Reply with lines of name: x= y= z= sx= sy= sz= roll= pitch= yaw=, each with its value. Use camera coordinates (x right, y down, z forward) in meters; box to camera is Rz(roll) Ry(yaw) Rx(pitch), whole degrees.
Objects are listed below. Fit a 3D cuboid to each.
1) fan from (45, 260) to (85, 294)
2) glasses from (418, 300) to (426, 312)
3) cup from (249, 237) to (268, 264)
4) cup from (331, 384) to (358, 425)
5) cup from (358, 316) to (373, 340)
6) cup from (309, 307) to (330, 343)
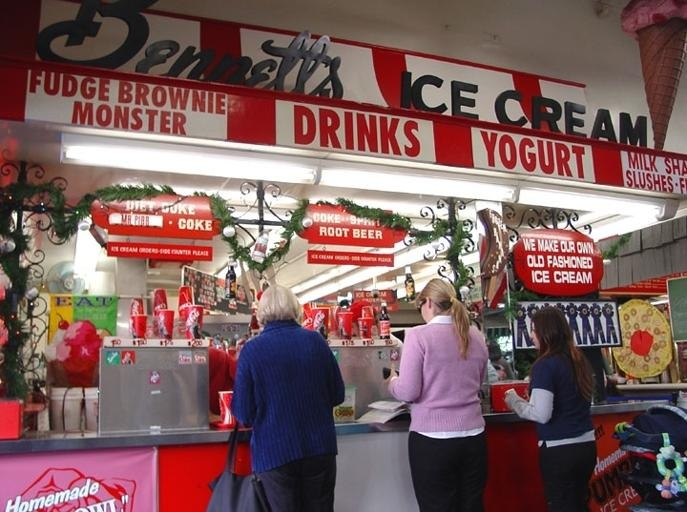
fan: x=-4.207 y=0.330 z=8.661 sx=0.496 sy=0.503 sz=0.324 roll=5 pitch=-10 yaw=-32
glasses: x=0.593 y=0.377 z=4.295 sx=0.060 sy=0.086 sz=0.045 roll=2 pitch=2 yaw=-31
cup: x=-0.928 y=-0.053 z=6.275 sx=0.113 sy=0.108 sz=0.300 roll=-22 pitch=20 yaw=15
cup: x=0.030 y=1.196 z=4.576 sx=0.225 sy=0.371 sz=0.222 roll=0 pitch=-7 yaw=0
cup: x=0.204 y=0.644 z=5.144 sx=0.141 sy=0.177 sz=0.150 roll=-2 pitch=-15 yaw=0
cup: x=-0.190 y=0.578 z=4.902 sx=0.214 sy=0.332 sz=0.227 roll=-3 pitch=-10 yaw=0
